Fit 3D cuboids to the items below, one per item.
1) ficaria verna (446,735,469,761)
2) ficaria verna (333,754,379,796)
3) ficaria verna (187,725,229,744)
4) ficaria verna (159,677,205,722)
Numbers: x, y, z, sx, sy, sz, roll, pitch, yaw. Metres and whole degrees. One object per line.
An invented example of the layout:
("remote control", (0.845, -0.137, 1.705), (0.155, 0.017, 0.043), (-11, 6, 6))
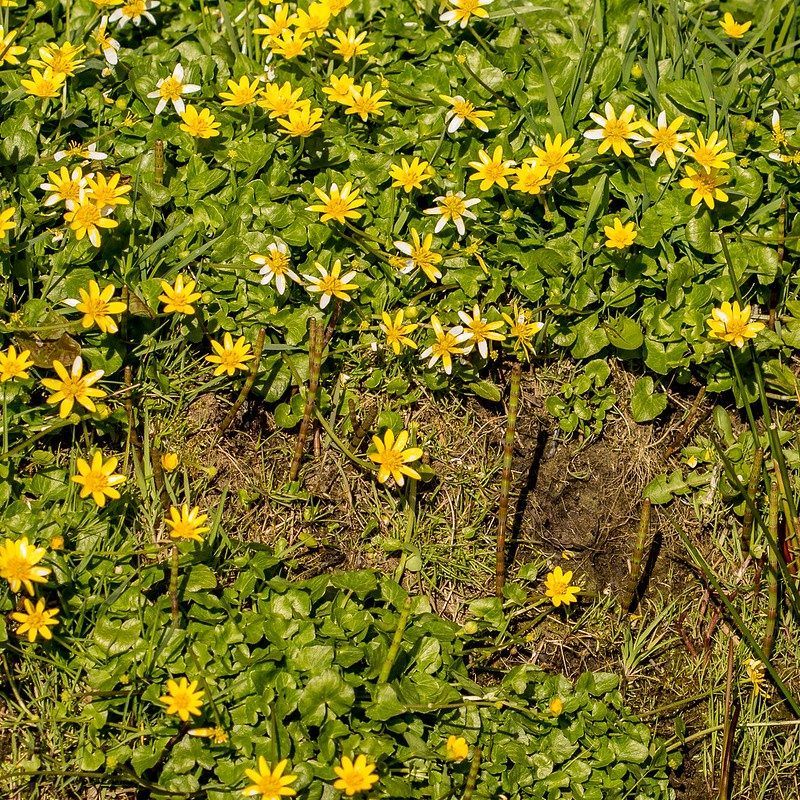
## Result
("ficaria verna", (0.167, 1.046, 2.708), (0.042, 0.086, 0.099), (-2, 86, 11))
("ficaria verna", (-0.132, 1.083, 2.612), (0.115, 0.046, 0.123), (32, 62, 14))
("ficaria verna", (-0.580, 1.010, 2.735), (0.109, 0.032, 0.060), (8, 72, 11))
("ficaria verna", (-0.648, 0.894, 2.682), (0.138, 0.043, 0.146), (-5, 64, -39))
